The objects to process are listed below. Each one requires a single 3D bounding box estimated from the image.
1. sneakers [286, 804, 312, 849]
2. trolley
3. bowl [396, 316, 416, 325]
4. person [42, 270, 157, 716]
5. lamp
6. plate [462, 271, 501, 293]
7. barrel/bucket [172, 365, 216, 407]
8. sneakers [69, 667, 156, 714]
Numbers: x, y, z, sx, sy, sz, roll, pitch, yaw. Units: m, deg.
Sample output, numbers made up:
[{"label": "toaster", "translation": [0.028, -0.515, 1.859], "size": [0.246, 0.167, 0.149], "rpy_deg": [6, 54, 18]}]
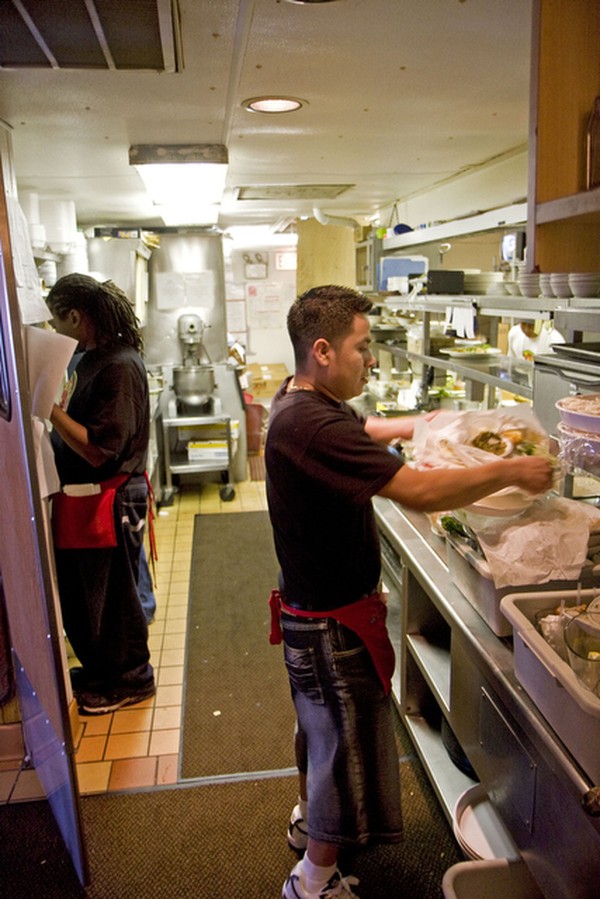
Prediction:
[{"label": "sneakers", "translation": [-0.009, 1.085, 1.762], "size": [0.046, 0.096, 0.138], "rpy_deg": [2, 2, 1]}, {"label": "trolley", "translation": [-0.948, -0.026, 5.439], "size": [0.616, 0.849, 0.891], "rpy_deg": [-4, 10, -13]}, {"label": "bowl", "translation": [0.801, -0.969, 4.584], "size": [0.159, 0.068, 0.161], "rpy_deg": [-1, 4, 0]}, {"label": "person", "translation": [-0.746, 0.207, 2.316], "size": [0.383, 1.720, 0.529], "rpy_deg": [-4, 10, -16]}, {"label": "lamp", "translation": [-0.684, -1.508, 3.613], "size": [0.421, 0.202, 2.142], "rpy_deg": [-3, 10, -8]}, {"label": "plate", "translation": [0.931, -0.838, 3.043], "size": [0.159, 0.103, 0.177], "rpy_deg": [-1, 11, -2]}, {"label": "barrel/bucket", "translation": [-0.902, -0.542, 5.266], "size": [0.343, 0.378, 0.348], "rpy_deg": [-1, 4, 0]}, {"label": "sneakers", "translation": [-0.772, 0.991, 2.550], "size": [0.354, 0.162, 0.132], "rpy_deg": [5, -2, -27]}]
